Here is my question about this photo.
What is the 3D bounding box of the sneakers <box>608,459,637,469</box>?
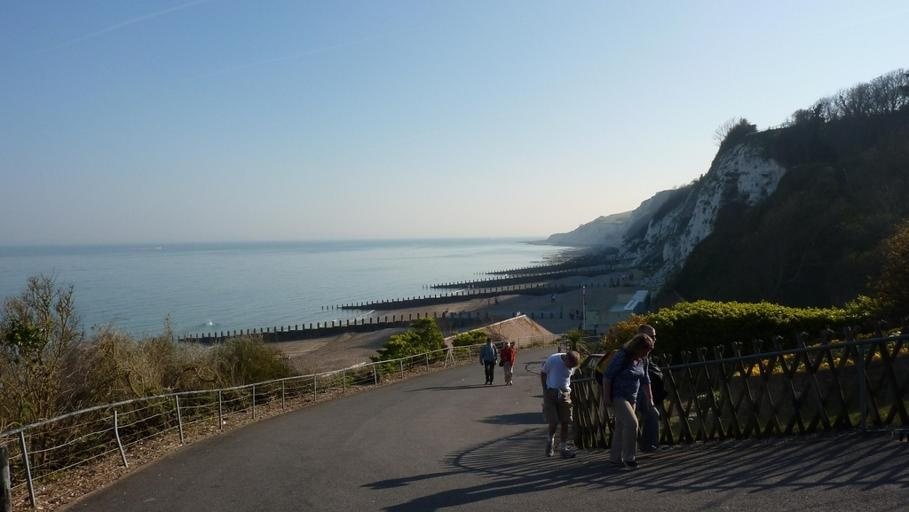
[{"bbox_3d":[3.955,4.842,13.872,0.607,0.207,0.233,-1,3,31],"label":"sneakers"}]

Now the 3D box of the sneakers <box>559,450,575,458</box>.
[{"bbox_3d":[2.902,5.077,15.177,0.392,0.144,0.200,-3,5,-8],"label":"sneakers"}]

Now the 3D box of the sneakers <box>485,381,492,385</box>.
[{"bbox_3d":[1.534,5.796,26.966,0.398,0.173,0.100,-7,3,17],"label":"sneakers"}]
